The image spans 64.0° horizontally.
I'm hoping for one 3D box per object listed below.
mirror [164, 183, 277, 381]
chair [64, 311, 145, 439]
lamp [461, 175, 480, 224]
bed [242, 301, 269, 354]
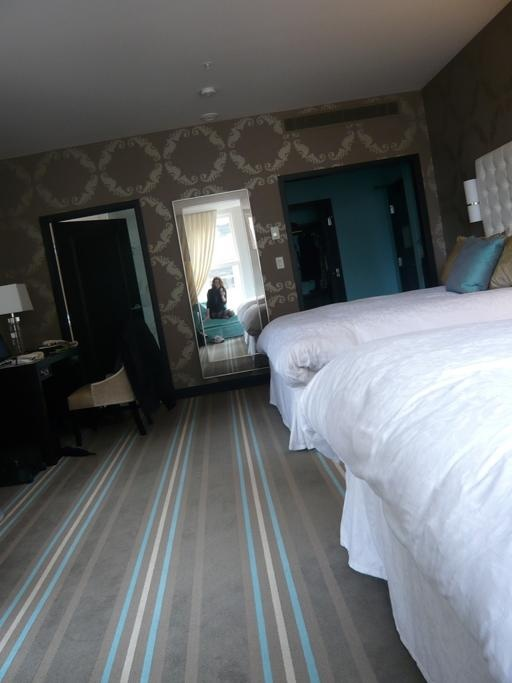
[{"bbox_3d":[-0.386,-0.547,4.652,1.061,2.766,0.036,-10,41,-10],"label":"mirror"},{"bbox_3d":[-1.324,0.556,3.499,0.617,0.794,0.645,-11,-15,-16],"label":"chair"},{"bbox_3d":[2.023,-1.315,3.827,0.124,0.382,0.192,-5,6,22],"label":"lamp"},{"bbox_3d":[-0.019,-0.222,4.723,0.396,0.461,0.549,-3,11,-8],"label":"bed"}]
